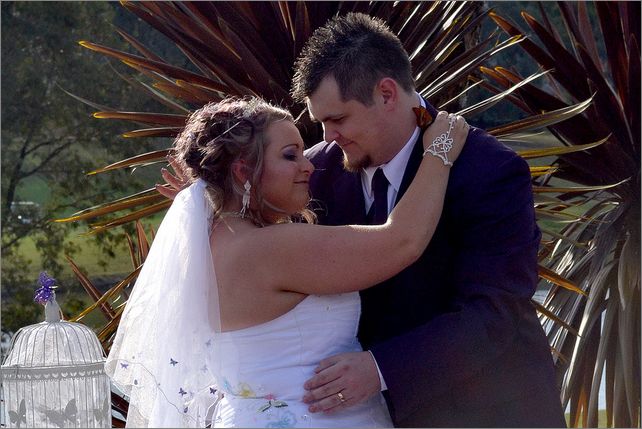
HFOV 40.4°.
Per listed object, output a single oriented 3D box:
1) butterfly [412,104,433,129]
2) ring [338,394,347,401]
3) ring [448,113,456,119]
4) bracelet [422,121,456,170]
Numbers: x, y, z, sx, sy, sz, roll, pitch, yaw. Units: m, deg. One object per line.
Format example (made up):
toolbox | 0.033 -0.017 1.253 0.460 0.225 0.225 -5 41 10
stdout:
butterfly | 0.606 -0.597 5.306 0.108 0.129 0.040 -2 27 -4
ring | 0.083 1.025 4.902 0.044 0.050 0.008 -2 3 -5
ring | 0.782 -0.595 5.291 0.047 0.018 0.060 6 22 12
bracelet | 0.688 -0.414 5.135 0.143 0.221 0.071 30 6 24
